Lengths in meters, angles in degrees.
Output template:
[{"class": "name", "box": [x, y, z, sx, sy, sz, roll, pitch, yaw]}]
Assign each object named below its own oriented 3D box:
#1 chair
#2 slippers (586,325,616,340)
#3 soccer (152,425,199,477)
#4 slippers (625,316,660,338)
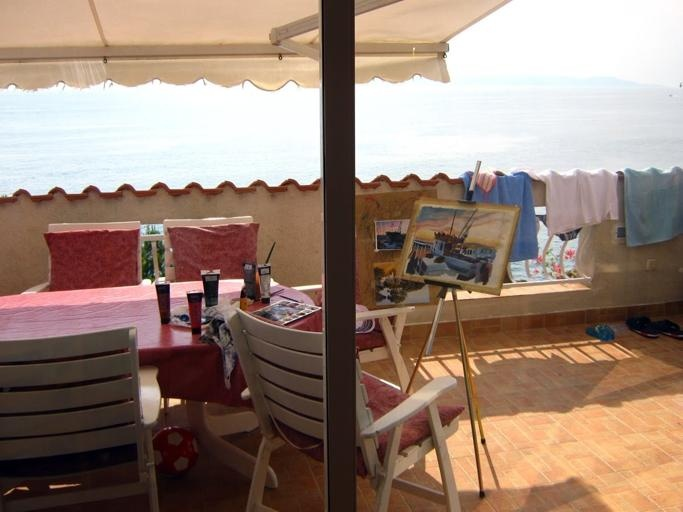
[{"class": "chair", "box": [-0.360, 0.540, 2.335, 1.434, 0.754, 1.285, -5, 10, -21]}, {"class": "slippers", "box": [2.323, 0.651, 4.626, 0.166, 0.067, 0.133, -10, 15, -31]}, {"class": "soccer", "box": [-0.895, 1.037, 2.902, 0.245, 0.290, 0.253, -2, 2, 9]}, {"class": "slippers", "box": [2.724, 0.629, 4.718, 0.108, 0.120, 0.302, -9, 19, -9]}]
